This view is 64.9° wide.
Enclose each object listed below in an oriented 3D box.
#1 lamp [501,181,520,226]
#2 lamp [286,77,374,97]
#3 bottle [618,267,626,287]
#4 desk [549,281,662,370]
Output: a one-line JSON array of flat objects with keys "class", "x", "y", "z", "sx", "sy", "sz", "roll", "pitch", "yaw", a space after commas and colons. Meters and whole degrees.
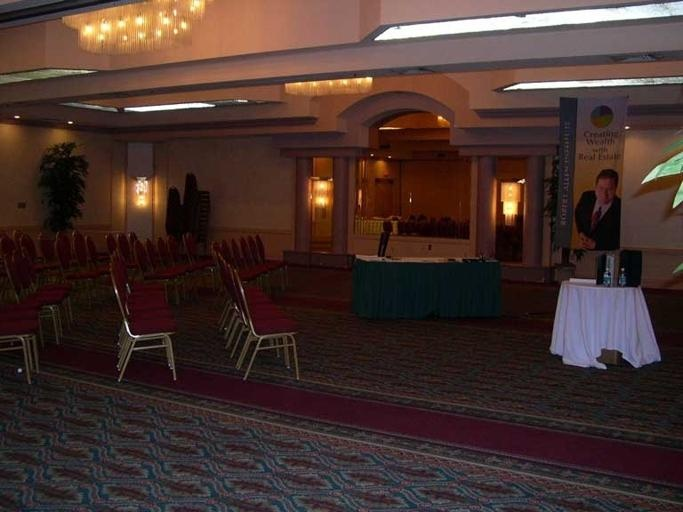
[{"class": "lamp", "x": 4.765, "y": -1.469, "z": 15.065, "sx": 0.548, "sy": 1.151, "sz": 0.876, "roll": 3, "pitch": 7, "yaw": 17}, {"class": "lamp", "x": -0.243, "y": -2.769, "z": 8.839, "sx": 1.601, "sy": 0.246, "sz": 0.539, "roll": 6, "pitch": 9, "yaw": 35}, {"class": "bottle", "x": 3.656, "y": 0.281, "z": 6.978, "sx": 0.103, "sy": 0.231, "sz": 0.044, "roll": -1, "pitch": 6, "yaw": -15}, {"class": "desk", "x": 3.471, "y": 0.732, "z": 7.281, "sx": 1.260, "sy": 1.068, "sz": 1.046, "roll": 0, "pitch": 0, "yaw": 3}]
